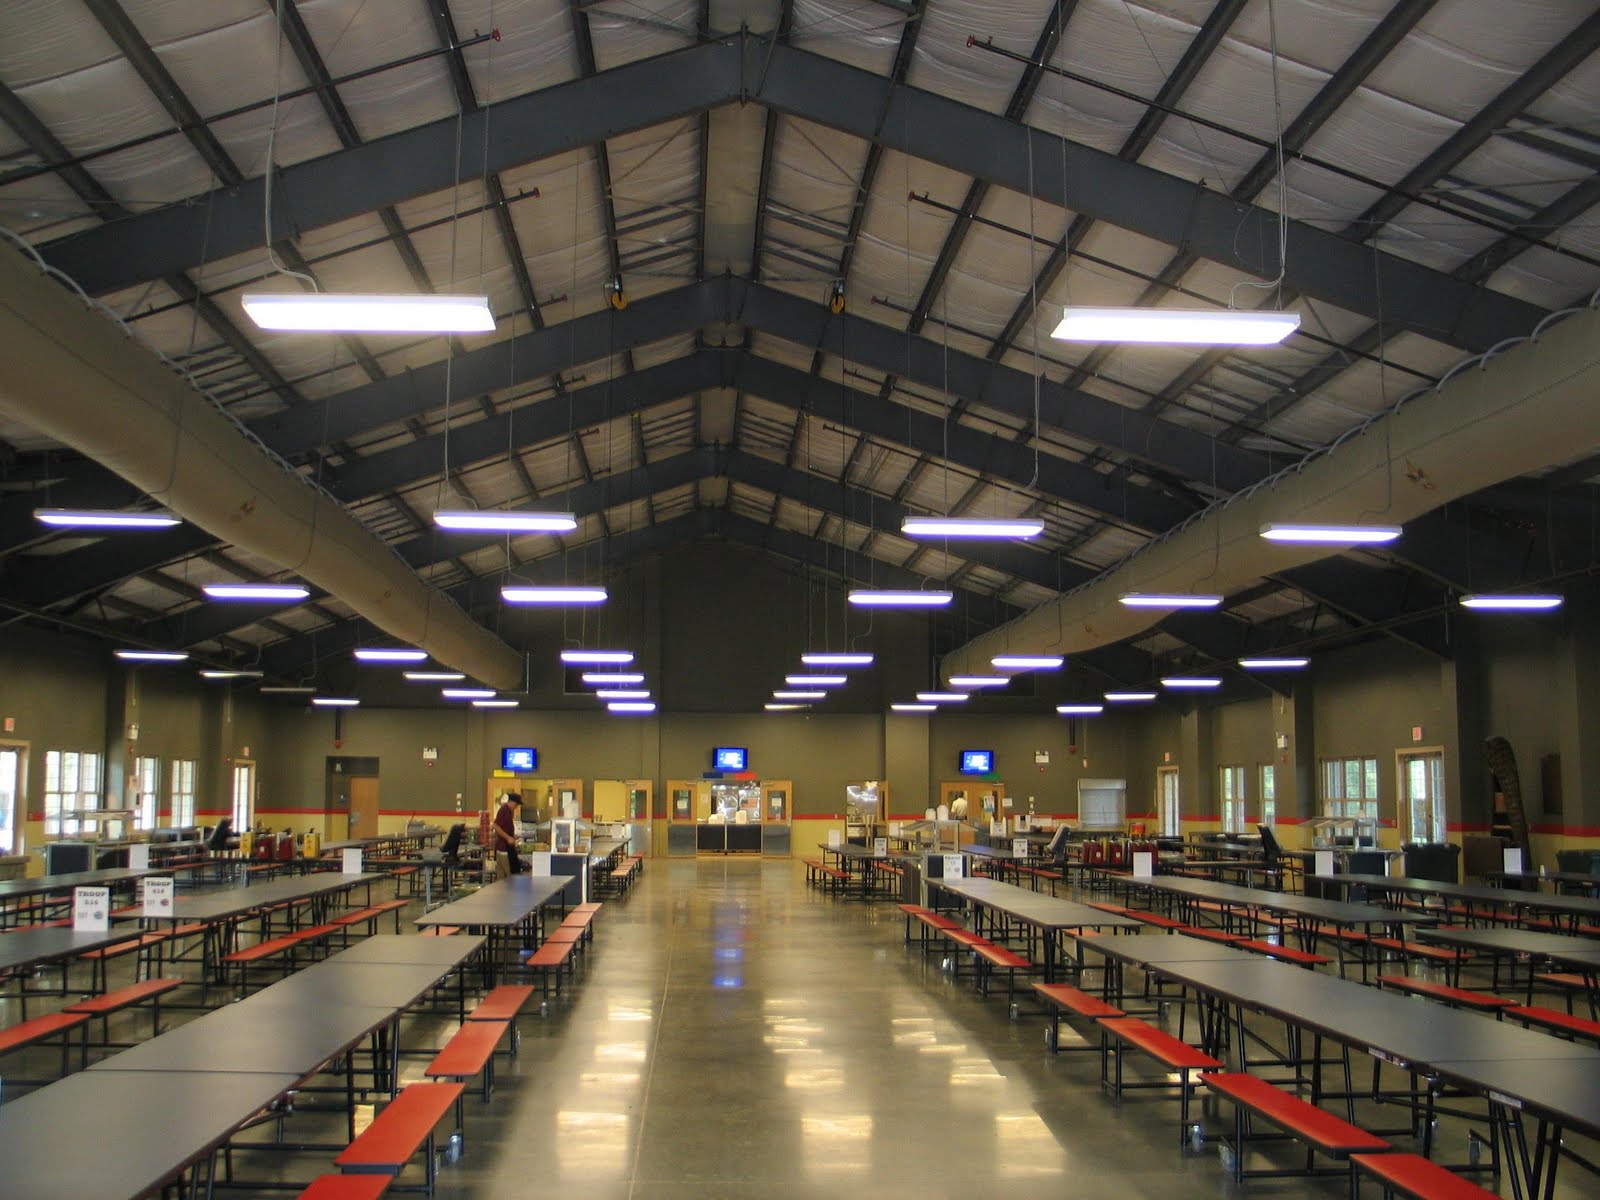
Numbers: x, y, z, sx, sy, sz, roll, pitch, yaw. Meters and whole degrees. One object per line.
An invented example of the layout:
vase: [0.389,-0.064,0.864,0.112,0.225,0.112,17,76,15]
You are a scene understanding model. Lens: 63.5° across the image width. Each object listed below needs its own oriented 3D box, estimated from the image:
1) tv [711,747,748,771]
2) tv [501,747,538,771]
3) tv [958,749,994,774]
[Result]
tv: [-1.695,3.727,30.155,0.848,0.670,0.493,1,1,4]
tv: [-6.624,3.721,30.100,0.802,0.622,0.458,2,-7,-13]
tv: [4.131,3.883,30.624,0.856,0.662,0.466,1,-8,-3]
